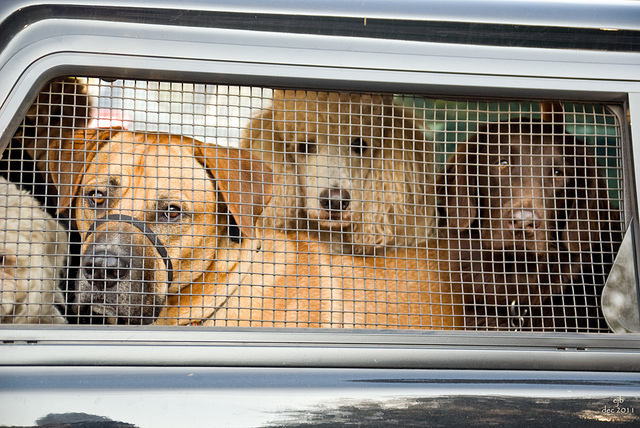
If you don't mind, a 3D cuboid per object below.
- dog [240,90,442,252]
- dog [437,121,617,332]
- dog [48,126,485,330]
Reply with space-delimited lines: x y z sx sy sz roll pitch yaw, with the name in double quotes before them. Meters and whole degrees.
"dog" 0.124 -0.152 5.633 1.008 0.834 0.660 0 8 1
"dog" 0.815 0.031 5.292 0.593 0.563 0.990 -2 -35 9
"dog" -0.291 0.051 5.286 1.609 0.884 0.874 3 -12 -26
